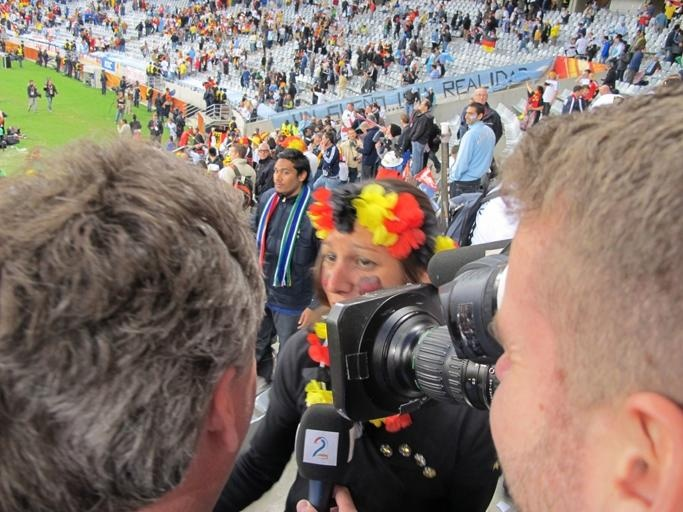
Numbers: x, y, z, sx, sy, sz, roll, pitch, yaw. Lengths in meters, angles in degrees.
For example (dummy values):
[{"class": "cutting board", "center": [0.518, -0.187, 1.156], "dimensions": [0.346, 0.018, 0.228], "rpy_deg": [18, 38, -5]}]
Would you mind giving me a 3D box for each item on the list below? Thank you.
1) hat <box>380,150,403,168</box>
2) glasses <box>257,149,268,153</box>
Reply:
[{"class": "hat", "center": [0.651, -1.235, 9.739], "dimensions": [0.252, 0.107, 0.268], "rpy_deg": [22, 61, 27]}, {"class": "glasses", "center": [-0.873, -1.193, 8.283], "dimensions": [0.070, 0.031, 0.079], "rpy_deg": [-2, 3, 0]}]
